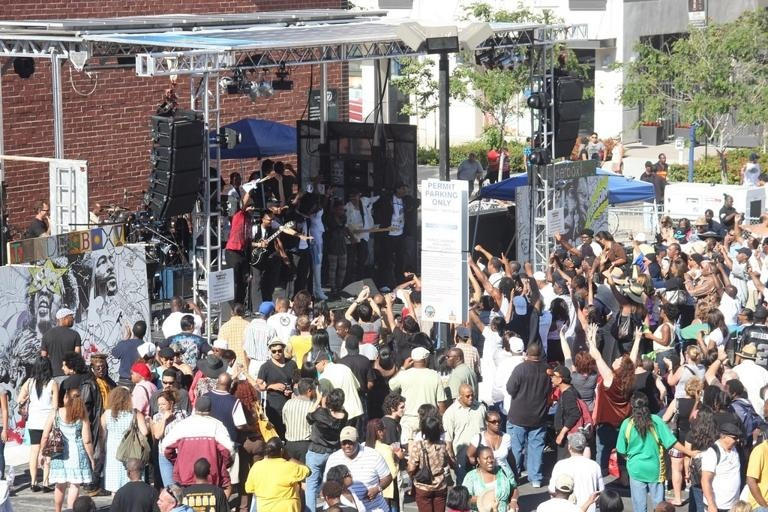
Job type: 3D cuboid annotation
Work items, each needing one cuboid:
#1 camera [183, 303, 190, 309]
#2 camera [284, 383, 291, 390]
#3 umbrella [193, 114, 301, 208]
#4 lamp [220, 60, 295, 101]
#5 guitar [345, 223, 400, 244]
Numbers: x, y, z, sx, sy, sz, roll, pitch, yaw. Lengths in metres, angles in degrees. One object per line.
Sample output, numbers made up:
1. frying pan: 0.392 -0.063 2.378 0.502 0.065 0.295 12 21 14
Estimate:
1. camera: -3.811 0.970 33.676 0.103 0.107 0.189 0 -2 2
2. camera: -1.685 2.294 30.818 0.094 0.100 0.170 -1 -10 9
3. umbrella: -2.908 -2.723 42.284 2.196 1.601 1.869 -4 7 -14
4. lamp: -2.851 -3.878 38.916 1.690 0.865 1.436 -1 6 38
5. guitar: -0.315 -0.479 38.751 0.811 0.409 0.462 0 0 -2
